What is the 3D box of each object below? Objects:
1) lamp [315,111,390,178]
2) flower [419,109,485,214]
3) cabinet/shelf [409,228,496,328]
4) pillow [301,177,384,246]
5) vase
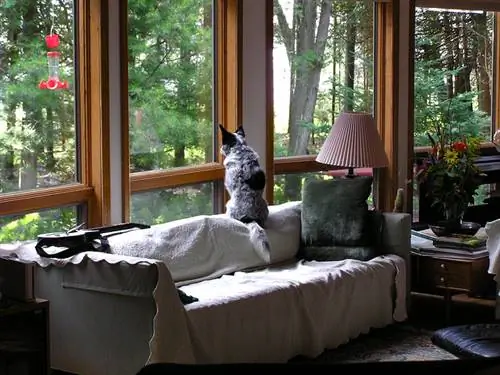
[{"bbox_3d":[0.832,-0.352,3.922,0.476,0.433,0.488,4,7,28],"label":"lamp"},{"bbox_3d":[1.594,-0.107,3.917,0.486,0.617,0.293,-1,8,24],"label":"flower"},{"bbox_3d":[1.624,0.673,3.724,0.584,0.560,0.546,2,-1,-41],"label":"cabinet/shelf"},{"bbox_3d":[0.705,0.201,3.817,0.496,0.519,0.183,-1,-23,16],"label":"pillow"},{"bbox_3d":[1.649,0.272,3.896,0.287,0.153,0.295,1,9,37],"label":"vase"}]
